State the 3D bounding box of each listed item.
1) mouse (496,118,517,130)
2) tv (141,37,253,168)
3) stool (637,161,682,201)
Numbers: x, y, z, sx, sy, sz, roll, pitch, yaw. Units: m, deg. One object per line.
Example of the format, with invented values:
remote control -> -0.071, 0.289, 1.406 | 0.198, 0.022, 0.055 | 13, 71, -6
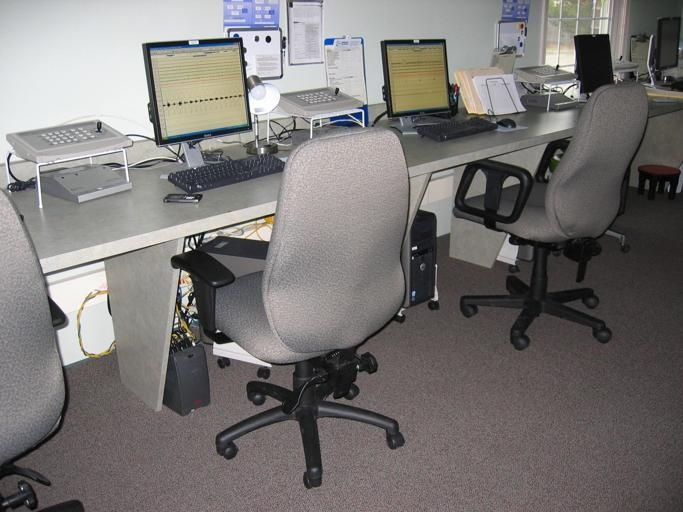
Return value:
mouse -> 0.900, -0.720, 3.042 | 0.074, 0.032, 0.105 | -8, 21, -8
tv -> -0.651, -0.683, 2.424 | 0.456, 0.552, 0.292 | -21, 47, -36
stool -> 2.535, -0.616, 4.421 | 0.307, 0.233, 0.300 | 11, 30, 32
